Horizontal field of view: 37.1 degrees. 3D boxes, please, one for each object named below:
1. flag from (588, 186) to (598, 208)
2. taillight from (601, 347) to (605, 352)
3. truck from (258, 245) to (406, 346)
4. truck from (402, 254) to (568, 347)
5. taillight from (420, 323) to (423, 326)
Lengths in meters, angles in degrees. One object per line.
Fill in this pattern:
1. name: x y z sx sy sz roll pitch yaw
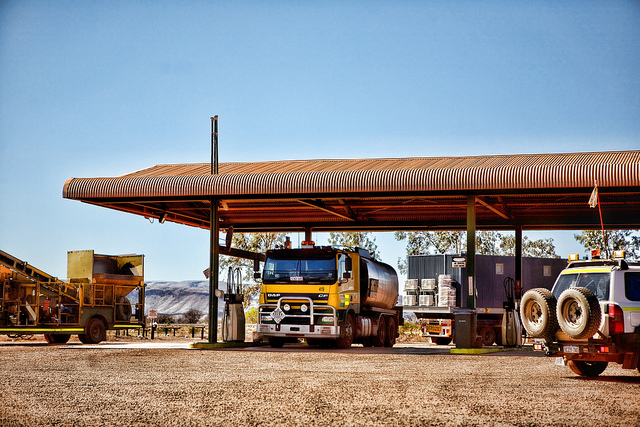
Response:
1. flag: 8.894 -0.579 30.940 0.261 0.853 1.079 -4 -11 16
2. taillight: 6.952 3.336 23.397 0.083 0.107 0.041 -5 -11 22
3. truck: 0.735 3.162 35.549 3.017 3.466 6.946 -5 -14 26
4. truck: 7.548 3.769 42.991 7.854 4.029 3.681 4 -3 -44
5. taillight: 4.279 4.646 40.052 0.104 0.112 0.084 -2 -11 4
